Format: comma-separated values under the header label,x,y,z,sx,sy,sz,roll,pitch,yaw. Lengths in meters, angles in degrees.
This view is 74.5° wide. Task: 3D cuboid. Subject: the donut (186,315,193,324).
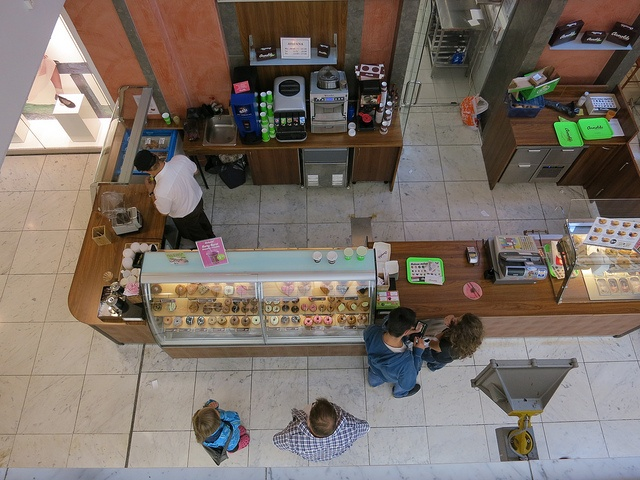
label,x,y,z,sx,sy,sz,roll,pitch,yaw
donut,-1.594,0.984,5.152,0.090,0.116,0.074,6,59,2

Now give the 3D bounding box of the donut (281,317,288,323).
label,x,y,z,sx,sy,sz,roll,pitch,yaw
donut,-0.433,0.989,5.197,0.096,0.069,0.079,-4,59,-5

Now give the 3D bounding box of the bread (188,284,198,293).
label,x,y,z,sx,sy,sz,roll,pitch,yaw
bread,-1.489,0.578,4.918,0.121,0.119,0.090,8,59,3

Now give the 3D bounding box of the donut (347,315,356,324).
label,x,y,z,sx,sy,sz,roll,pitch,yaw
donut,0.384,0.984,5.188,0.103,0.081,0.096,2,58,-1

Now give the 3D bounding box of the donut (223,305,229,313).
label,x,y,z,sx,sy,sz,roll,pitch,yaw
donut,-1.135,0.834,5.088,0.085,0.074,0.072,5,59,1

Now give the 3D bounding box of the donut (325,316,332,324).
label,x,y,z,sx,sy,sz,roll,pitch,yaw
donut,0.101,0.995,5.211,0.102,0.059,0.090,-1,58,-3

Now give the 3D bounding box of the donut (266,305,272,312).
label,x,y,z,sx,sy,sz,roll,pitch,yaw
donut,-0.627,0.835,5.119,0.083,0.092,0.070,-1,59,-3

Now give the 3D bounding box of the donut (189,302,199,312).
label,x,y,z,sx,sy,sz,roll,pitch,yaw
donut,-1.515,0.813,5.063,0.115,0.111,0.094,4,59,0

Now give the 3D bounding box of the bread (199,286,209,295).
label,x,y,z,sx,sy,sz,roll,pitch,yaw
bread,-1.364,0.587,4.926,0.104,0.095,0.027,30,18,-22

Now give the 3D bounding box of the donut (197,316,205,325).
label,x,y,z,sx,sy,sz,roll,pitch,yaw
donut,-1.461,0.994,5.162,0.084,0.096,0.090,2,59,-1

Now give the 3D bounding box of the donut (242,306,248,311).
label,x,y,z,sx,sy,sz,roll,pitch,yaw
donut,-0.912,0.827,5.072,0.075,0.050,0.071,-2,58,-3

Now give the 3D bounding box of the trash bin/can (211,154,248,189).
label,x,y,z,sx,sy,sz,roll,pitch,yaw
trash bin/can,-1.399,-1.128,6.785,0.431,0.496,0.205,-14,42,-3

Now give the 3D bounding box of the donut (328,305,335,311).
label,x,y,z,sx,sy,sz,roll,pitch,yaw
donut,0.129,0.847,5.182,0.086,0.047,0.066,28,61,15

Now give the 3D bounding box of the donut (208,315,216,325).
label,x,y,z,sx,sy,sz,roll,pitch,yaw
donut,-1.327,0.991,5.166,0.095,0.085,0.085,3,59,0

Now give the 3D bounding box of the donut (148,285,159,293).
label,x,y,z,sx,sy,sz,roll,pitch,yaw
donut,-1.871,0.563,4.822,0.119,0.109,0.078,-8,60,-7

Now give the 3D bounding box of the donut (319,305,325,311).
label,x,y,z,sx,sy,sz,roll,pitch,yaw
donut,0.020,0.839,5.197,0.065,0.044,0.077,-5,58,-5

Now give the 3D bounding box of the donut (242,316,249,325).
label,x,y,z,sx,sy,sz,roll,pitch,yaw
donut,-0.925,1.008,5.209,0.104,0.057,0.097,-4,58,-4

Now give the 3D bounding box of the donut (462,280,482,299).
label,x,y,z,sx,sy,sz,roll,pitch,yaw
donut,1.897,0.638,5.265,0.233,0.042,0.221,6,57,2

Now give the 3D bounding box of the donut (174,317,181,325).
label,x,y,z,sx,sy,sz,roll,pitch,yaw
donut,-1.740,0.999,5.146,0.112,0.100,0.071,-4,59,-4

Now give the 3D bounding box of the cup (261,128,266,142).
label,x,y,z,sx,sy,sz,roll,pitch,yaw
cup,-0.809,-1.538,6.210,0.091,0.134,0.142,-2,59,-4

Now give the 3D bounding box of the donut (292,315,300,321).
label,x,y,z,sx,sy,sz,roll,pitch,yaw
donut,-0.304,0.975,5.191,0.107,0.066,0.078,9,59,4

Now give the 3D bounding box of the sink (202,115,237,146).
label,x,y,z,sx,sy,sz,roll,pitch,yaw
sink,-1.514,-1.637,6.390,0.507,0.161,0.598,-5,58,-5

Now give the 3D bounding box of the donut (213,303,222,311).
label,x,y,z,sx,sy,sz,roll,pitch,yaw
donut,-1.228,0.814,5.077,0.090,0.112,0.081,8,59,3

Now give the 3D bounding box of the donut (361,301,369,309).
label,x,y,z,sx,sy,sz,roll,pitch,yaw
donut,0.534,0.788,5.073,0.084,0.097,0.080,2,59,-1

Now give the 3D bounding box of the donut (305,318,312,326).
label,x,y,z,sx,sy,sz,roll,pitch,yaw
donut,-0.146,1.011,5.206,0.101,0.075,0.083,-1,59,-3

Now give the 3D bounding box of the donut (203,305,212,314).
label,x,y,z,sx,sy,sz,roll,pitch,yaw
donut,-1.356,0.836,5.084,0.117,0.107,0.082,-2,59,-3

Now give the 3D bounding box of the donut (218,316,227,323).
label,x,y,z,sx,sy,sz,roll,pitch,yaw
donut,-1.200,0.987,5.162,0.114,0.086,0.079,5,59,1

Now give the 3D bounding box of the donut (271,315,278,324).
label,x,y,z,sx,sy,sz,roll,pitch,yaw
donut,-0.564,0.993,5.195,0.108,0.073,0.083,0,59,-2

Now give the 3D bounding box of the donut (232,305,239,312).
label,x,y,z,sx,sy,sz,roll,pitch,yaw
donut,-1.020,0.830,5.074,0.085,0.054,0.080,-3,58,-4

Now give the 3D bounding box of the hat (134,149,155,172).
label,x,y,z,sx,sy,sz,roll,pitch,yaw
hat,-2.107,-0.960,5.128,0.205,0.093,0.269,-38,110,2

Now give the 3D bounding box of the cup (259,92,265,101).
label,x,y,z,sx,sy,sz,roll,pitch,yaw
cup,-0.853,-2.105,6.184,0.093,0.140,0.086,1,80,-5

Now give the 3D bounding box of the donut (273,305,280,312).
label,x,y,z,sx,sy,sz,roll,pitch,yaw
donut,-0.535,0.839,5.142,0.077,0.064,0.068,-2,59,-3

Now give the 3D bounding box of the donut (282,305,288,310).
label,x,y,z,sx,sy,sz,roll,pitch,yaw
donut,-0.422,0.832,5.149,0.077,0.046,0.059,-1,58,-3

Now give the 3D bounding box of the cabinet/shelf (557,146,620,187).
label,x,y,z,sx,sy,sz,roll,pitch,yaw
cabinet/shelf,4.236,-1.184,6.654,0.499,0.913,0.522,-2,68,6

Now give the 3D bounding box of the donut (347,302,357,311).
label,x,y,z,sx,sy,sz,roll,pitch,yaw
donut,0.382,0.811,5.128,0.096,0.087,0.089,-10,92,0

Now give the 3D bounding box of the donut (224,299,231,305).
label,x,y,z,sx,sy,sz,roll,pitch,yaw
donut,-1.103,0.752,5.049,0.090,0.100,0.047,7,60,2

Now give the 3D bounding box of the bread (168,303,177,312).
label,x,y,z,sx,sy,sz,roll,pitch,yaw
bread,-1.761,0.796,5.007,0.086,0.036,0.106,10,89,-16

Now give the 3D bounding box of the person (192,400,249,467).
label,x,y,z,sx,sy,sz,roll,pitch,yaw
person,-1.240,2.241,4.994,0.545,1.057,0.619,-30,65,-18

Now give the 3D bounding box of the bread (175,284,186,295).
label,x,y,z,sx,sy,sz,roll,pitch,yaw
bread,-1.632,0.591,4.953,0.142,0.111,0.096,-12,60,-9

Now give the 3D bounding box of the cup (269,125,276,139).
label,x,y,z,sx,sy,sz,roll,pitch,yaw
cup,-0.710,-1.603,6.216,0.107,0.158,0.103,1,63,-2

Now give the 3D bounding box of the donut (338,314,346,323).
label,x,y,z,sx,sy,sz,roll,pitch,yaw
donut,0.262,0.981,5.195,0.102,0.070,0.093,3,58,0

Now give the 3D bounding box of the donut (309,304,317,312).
label,x,y,z,sx,sy,sz,roll,pitch,yaw
donut,-0.084,0.840,5.192,0.091,0.023,0.085,1,77,-9

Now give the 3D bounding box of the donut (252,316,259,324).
label,x,y,z,sx,sy,sz,roll,pitch,yaw
donut,-0.793,0.990,5.200,0.088,0.095,0.081,1,59,-1

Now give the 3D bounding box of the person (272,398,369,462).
label,x,y,z,sx,sy,sz,roll,pitch,yaw
person,0.014,2.048,4.508,0.787,0.728,0.692,30,62,15

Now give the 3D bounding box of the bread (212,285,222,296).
label,x,y,z,sx,sy,sz,roll,pitch,yaw
bread,-1.198,0.592,4.933,0.114,0.110,0.094,-2,59,-3

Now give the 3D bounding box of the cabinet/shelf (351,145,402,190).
label,x,y,z,sx,sy,sz,roll,pitch,yaw
cabinet/shelf,0.859,-1.172,6.683,0.809,0.739,0.536,2,61,1

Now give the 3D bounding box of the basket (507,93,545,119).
label,x,y,z,sx,sy,sz,roll,pitch,yaw
basket,3.146,-2.027,6.444,0.494,0.210,0.355,3,68,-1

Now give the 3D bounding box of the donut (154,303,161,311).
label,x,y,z,sx,sy,sz,roll,pitch,yaw
donut,-1.899,0.782,4.923,0.099,0.113,0.064,-10,60,-8

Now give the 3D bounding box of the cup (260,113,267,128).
label,x,y,z,sx,sy,sz,roll,pitch,yaw
cup,-0.815,-1.743,6.127,0.099,0.193,0.134,-3,59,-4

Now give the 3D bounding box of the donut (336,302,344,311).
label,x,y,z,sx,sy,sz,roll,pitch,yaw
donut,0.253,0.829,5.159,0.087,0.064,0.095,5,58,1

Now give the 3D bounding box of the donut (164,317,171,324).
label,x,y,z,sx,sy,sz,roll,pitch,yaw
donut,-1.847,0.987,5.129,0.085,0.083,0.071,5,59,1

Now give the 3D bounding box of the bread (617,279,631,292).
label,x,y,z,sx,sy,sz,roll,pitch,yaw
bread,3.786,0.573,5.254,0.130,0.052,0.169,0,95,9

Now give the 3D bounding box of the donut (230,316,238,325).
label,x,y,z,sx,sy,sz,roll,pitch,yaw
donut,-1.055,0.997,5.174,0.105,0.089,0.092,-2,59,-3
